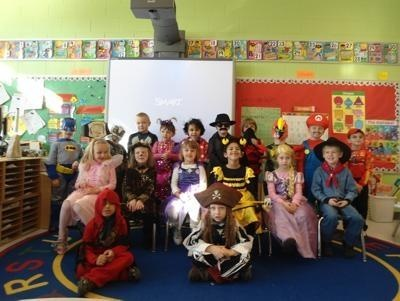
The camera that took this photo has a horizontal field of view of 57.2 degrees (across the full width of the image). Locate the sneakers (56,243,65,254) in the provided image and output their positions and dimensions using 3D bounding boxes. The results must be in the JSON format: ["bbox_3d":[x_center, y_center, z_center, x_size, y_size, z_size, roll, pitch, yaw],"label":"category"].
[{"bbox_3d":[-1.544,1.085,4.044,0.070,0.113,0.043,2,-26,-13],"label":"sneakers"}]

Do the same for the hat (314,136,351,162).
[{"bbox_3d":[1.608,0.008,4.530,0.378,0.309,0.336,-2,13,-12],"label":"hat"}]

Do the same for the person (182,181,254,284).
[{"bbox_3d":[0.217,0.808,3.666,0.662,0.897,0.654,-2,3,29],"label":"person"}]

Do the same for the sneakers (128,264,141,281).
[{"bbox_3d":[-0.640,1.195,3.560,0.082,0.141,0.138,3,-8,-5],"label":"sneakers"}]

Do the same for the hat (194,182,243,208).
[{"bbox_3d":[0.173,0.449,3.746,0.517,0.170,0.449,-7,18,-16],"label":"hat"}]

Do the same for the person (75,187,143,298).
[{"bbox_3d":[-1.012,0.879,3.873,0.796,1.114,0.835,-1,1,-26],"label":"person"}]

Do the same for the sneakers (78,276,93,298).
[{"bbox_3d":[-1.063,1.262,3.382,0.115,0.126,0.100,2,12,3],"label":"sneakers"}]

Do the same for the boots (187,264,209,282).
[{"bbox_3d":[-0.032,1.185,3.658,0.200,0.205,0.143,-2,5,-18],"label":"boots"}]
